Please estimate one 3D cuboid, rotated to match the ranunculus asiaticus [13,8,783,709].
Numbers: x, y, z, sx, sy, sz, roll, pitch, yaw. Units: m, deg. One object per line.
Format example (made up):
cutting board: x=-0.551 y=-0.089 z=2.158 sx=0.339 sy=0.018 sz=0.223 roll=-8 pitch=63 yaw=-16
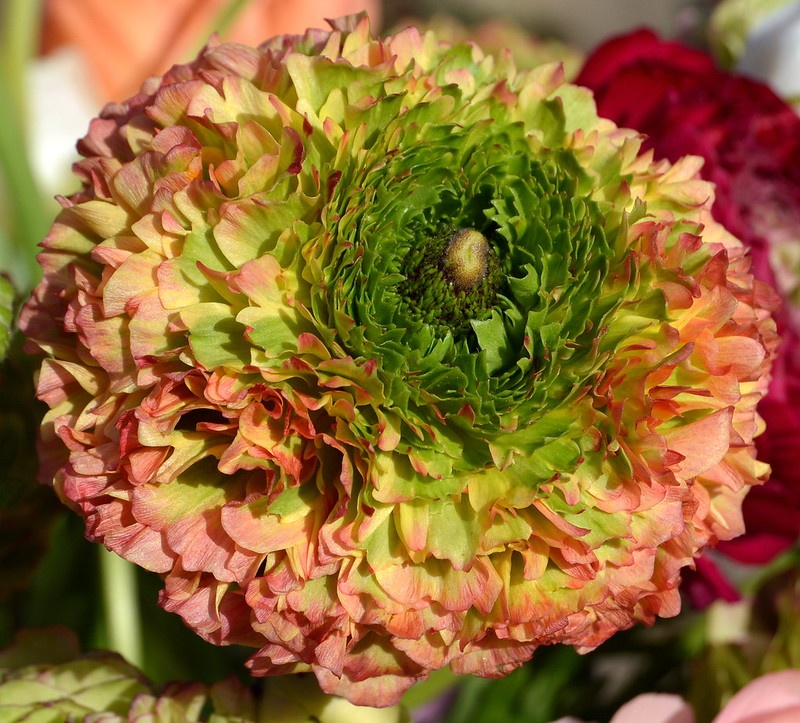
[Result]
ranunculus asiaticus: x=-0.041 y=0.004 z=0.565 sx=0.451 sy=0.230 sz=0.369 roll=9 pitch=87 yaw=-15
